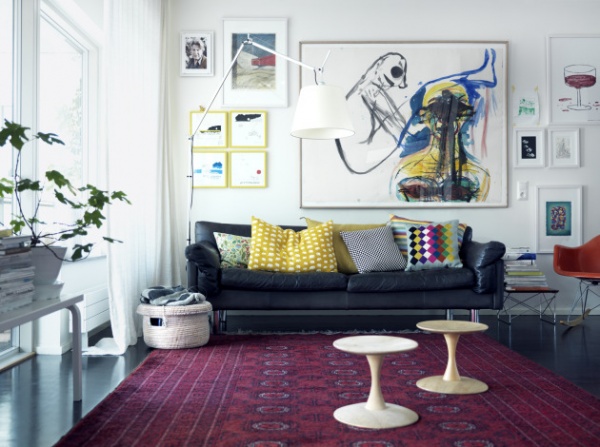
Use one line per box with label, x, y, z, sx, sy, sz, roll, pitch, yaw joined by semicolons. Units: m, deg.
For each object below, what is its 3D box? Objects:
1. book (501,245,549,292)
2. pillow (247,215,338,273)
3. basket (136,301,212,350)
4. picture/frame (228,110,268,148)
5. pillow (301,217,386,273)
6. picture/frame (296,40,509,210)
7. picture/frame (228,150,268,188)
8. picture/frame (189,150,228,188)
book;2.131;0.437;4.742;0.646;0.326;0.412;-1;-2;2
pillow;-0.121;0.208;4.351;0.718;0.469;0.174;1;-37;-5
basket;-0.954;0.792;3.719;0.485;0.189;0.429;0;-3;9
picture/frame;-0.533;-0.950;4.984;0.521;0.388;0.033;-1;3;1
pillow;0.392;0.222;4.441;0.642;0.446;0.184;-1;-36;4
picture/frame;1.123;-0.953;5.017;2.967;1.743;0.046;-6;13;-27
picture/frame;-0.547;-0.544;4.973;0.486;0.385;0.025;-6;10;-45
picture/frame;-0.956;-0.547;4.970;0.044;0.380;0.468;9;11;38
